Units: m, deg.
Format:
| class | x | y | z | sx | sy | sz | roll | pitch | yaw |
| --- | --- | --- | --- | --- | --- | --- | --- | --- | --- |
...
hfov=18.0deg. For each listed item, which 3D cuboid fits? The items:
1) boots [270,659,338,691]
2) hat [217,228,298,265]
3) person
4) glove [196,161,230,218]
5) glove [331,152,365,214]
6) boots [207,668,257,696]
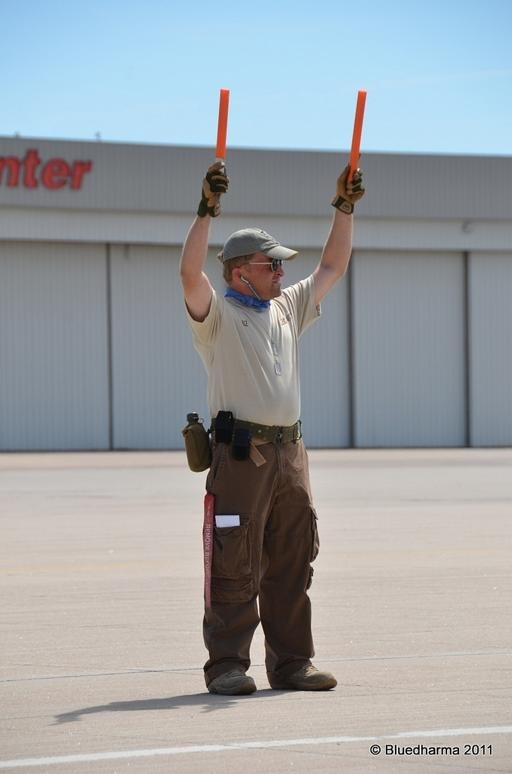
| class | x | y | z | sx | sy | sz | roll | pitch | yaw |
| --- | --- | --- | --- | --- | --- | --- | --- | --- | --- |
| boots | 0.182 | 1.123 | 6.347 | 0.261 | 0.132 | 0.105 | -2 | -8 | 13 |
| hat | -0.014 | -0.566 | 6.430 | 0.219 | 0.111 | 0.157 | -5 | 12 | 11 |
| person | 0.060 | 0.136 | 6.378 | 0.464 | 2.101 | 0.901 | -1 | -4 | 41 |
| glove | -0.181 | -0.772 | 6.324 | 0.112 | 0.248 | 0.306 | 1 | -3 | -2 |
| glove | 0.376 | -0.856 | 6.727 | 0.117 | 0.227 | 0.075 | 10 | 1 | -24 |
| boots | -0.103 | 1.121 | 6.207 | 0.084 | 0.076 | 0.169 | 4 | -10 | -42 |
